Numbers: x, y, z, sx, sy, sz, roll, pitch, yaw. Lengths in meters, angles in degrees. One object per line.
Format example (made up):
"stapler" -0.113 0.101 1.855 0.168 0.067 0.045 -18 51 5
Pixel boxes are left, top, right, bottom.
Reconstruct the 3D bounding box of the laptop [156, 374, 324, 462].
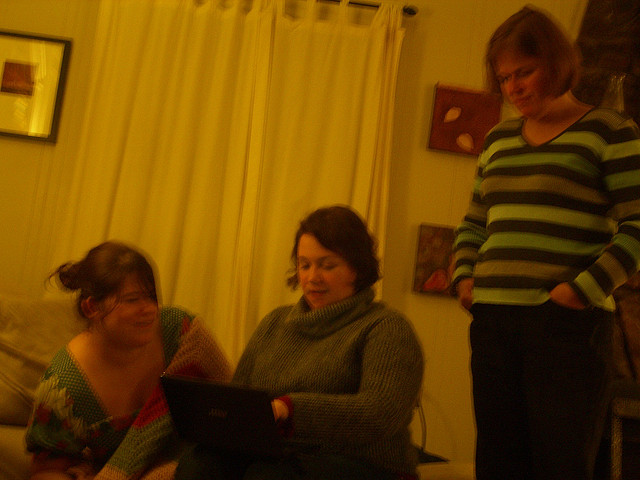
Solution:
"laptop" -0.188 0.393 1.305 0.346 0.195 0.351 -1 6 -4

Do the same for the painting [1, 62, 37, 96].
"painting" -1.474 -0.780 2.663 0.125 0.142 0.014 11 -7 -7

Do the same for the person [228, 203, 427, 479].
"person" 0.058 0.300 1.599 0.560 0.707 0.734 20 -24 -35
